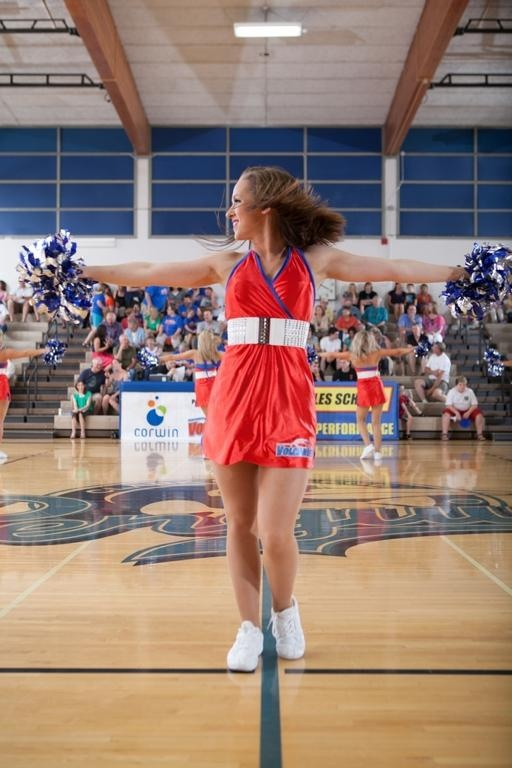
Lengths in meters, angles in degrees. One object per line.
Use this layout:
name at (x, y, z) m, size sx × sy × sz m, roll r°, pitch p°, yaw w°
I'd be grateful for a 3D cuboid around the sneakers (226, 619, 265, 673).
sneakers at (-0.035, 0.775, 2.182) m, size 0.061 × 0.068 × 0.170 m, roll 0°, pitch -5°, yaw 7°

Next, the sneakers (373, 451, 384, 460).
sneakers at (1.303, 0.761, 7.920) m, size 0.062 × 0.066 × 0.175 m, roll -1°, pitch -9°, yaw 2°

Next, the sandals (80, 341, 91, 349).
sandals at (-3.015, -0.708, 13.358) m, size 0.098 × 0.084 × 0.264 m, roll -1°, pitch -1°, yaw -26°

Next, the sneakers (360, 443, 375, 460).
sneakers at (1.199, 0.732, 8.019) m, size 0.101 × 0.112 × 0.272 m, roll 1°, pitch -2°, yaw 0°

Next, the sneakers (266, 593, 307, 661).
sneakers at (0.095, 0.735, 2.297) m, size 0.079 × 0.081 × 0.196 m, roll -10°, pitch 40°, yaw 5°

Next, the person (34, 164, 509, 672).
person at (0.115, 0.079, 2.315) m, size 1.153 × 1.504 × 0.376 m, roll 0°, pitch -2°, yaw -17°

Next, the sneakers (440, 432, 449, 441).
sneakers at (2.762, 0.766, 10.945) m, size 0.104 × 0.066 × 0.258 m, roll -2°, pitch -5°, yaw 0°

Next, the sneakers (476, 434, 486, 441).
sneakers at (3.268, 0.773, 10.889) m, size 0.097 × 0.068 × 0.269 m, roll -2°, pitch -3°, yaw 2°
